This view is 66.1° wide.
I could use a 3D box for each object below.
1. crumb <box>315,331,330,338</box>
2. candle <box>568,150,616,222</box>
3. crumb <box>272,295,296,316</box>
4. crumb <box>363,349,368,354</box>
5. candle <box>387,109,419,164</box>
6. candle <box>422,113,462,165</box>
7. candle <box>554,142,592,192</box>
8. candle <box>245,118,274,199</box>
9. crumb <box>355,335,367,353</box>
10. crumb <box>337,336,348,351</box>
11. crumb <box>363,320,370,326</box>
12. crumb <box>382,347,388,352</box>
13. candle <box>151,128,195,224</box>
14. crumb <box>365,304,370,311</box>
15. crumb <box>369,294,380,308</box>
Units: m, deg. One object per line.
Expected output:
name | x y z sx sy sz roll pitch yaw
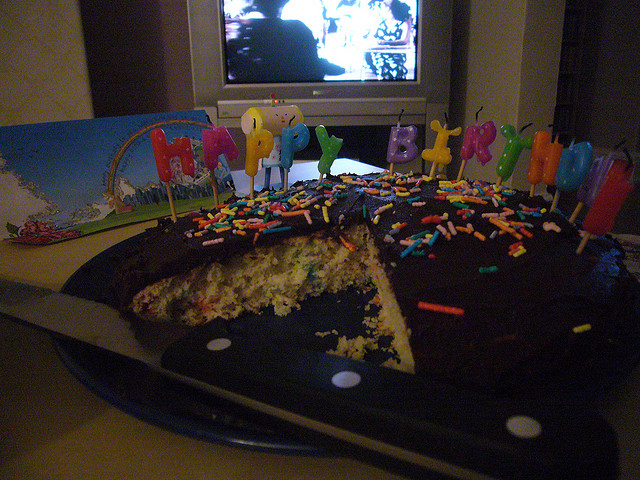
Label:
crumb | 0.005 0.236 1.232 0.014 0.005 0.015 3 6 30
candle | 0.704 -0.151 1.372 0.046 0.268 0.061 13 -3 -37
crumb | -0.104 0.183 1.379 0.051 0.014 0.051 -16 31 -33
crumb | 0.110 0.274 1.206 0.010 0.005 0.014 0 11 -4
candle | 0.289 -0.357 1.704 0.112 0.187 0.027 4 5 0
candle | 0.411 -0.338 1.668 0.101 0.174 0.018 17 -13 10
candle | 0.694 -0.199 1.355 0.035 0.126 0.122 15 -24 -23
candle | -0.189 -0.270 1.560 0.076 0.214 0.059 22 32 30
crumb | 0.098 0.255 1.203 0.028 0.007 0.027 8 43 -7
crumb | 0.045 0.249 1.176 0.023 0.006 0.023 -1 46 9
crumb | 0.119 0.218 1.281 0.009 0.003 0.009 -18 32 -26
crumb | 0.159 0.272 1.217 0.007 0.002 0.007 -11 13 -28
candle | -0.450 -0.203 1.559 0.123 0.293 0.030 -23 29 -39
crumb | 0.130 0.187 1.361 0.011 0.003 0.010 -4 18 -15
crumb | 0.156 0.171 1.393 0.029 0.006 0.025 -21 27 -37
